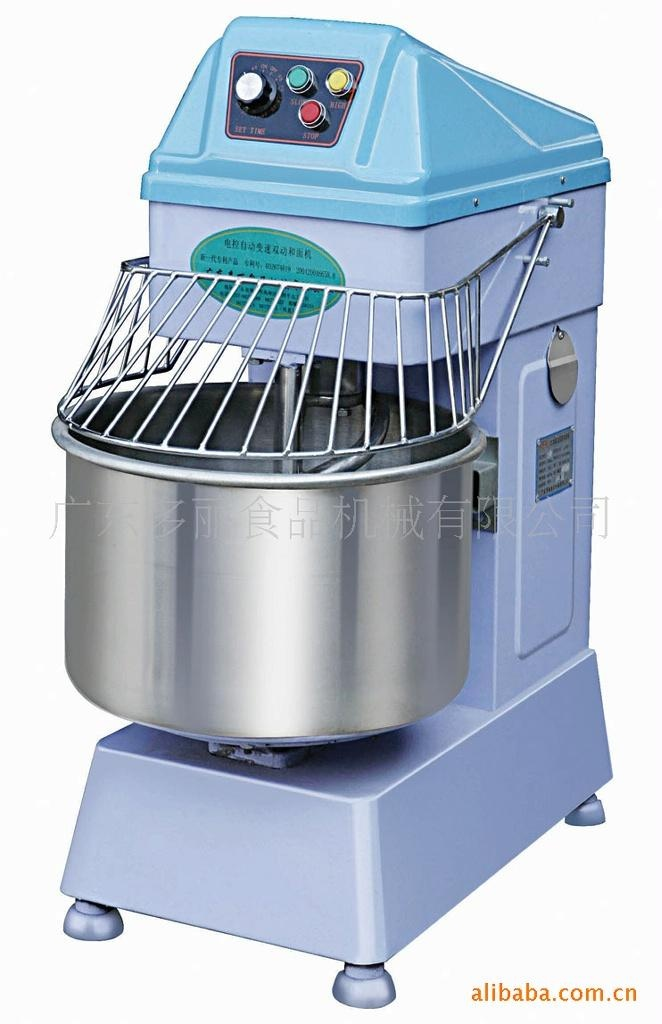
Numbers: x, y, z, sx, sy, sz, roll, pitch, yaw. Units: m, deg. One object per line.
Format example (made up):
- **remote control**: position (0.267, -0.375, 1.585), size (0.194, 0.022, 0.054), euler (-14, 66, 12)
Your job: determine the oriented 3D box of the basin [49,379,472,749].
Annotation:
- **basin**: position (-0.054, 0.058, 0.984), size (0.375, 0.262, 0.381), euler (2, 10, 0)
